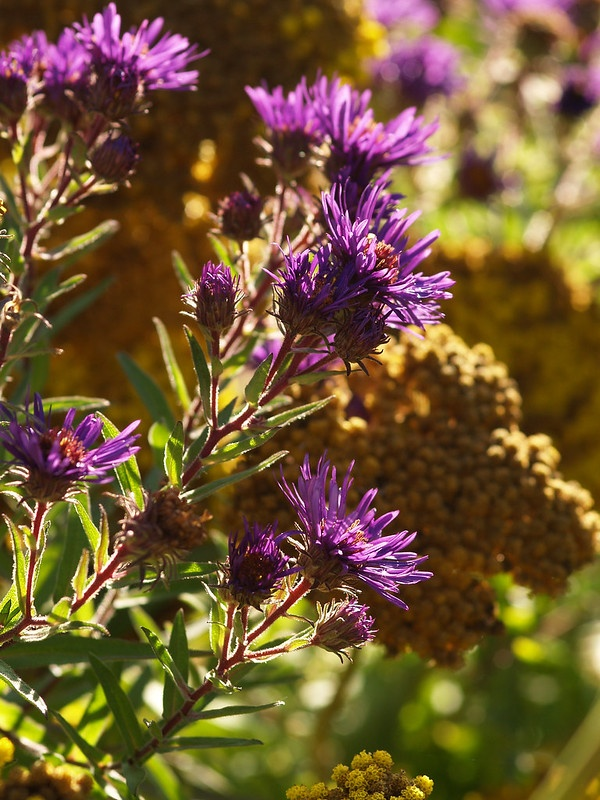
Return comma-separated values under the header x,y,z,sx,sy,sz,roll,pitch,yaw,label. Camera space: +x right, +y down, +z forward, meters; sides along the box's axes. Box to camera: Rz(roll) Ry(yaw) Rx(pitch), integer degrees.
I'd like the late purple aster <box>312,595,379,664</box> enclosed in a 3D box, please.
x,y,z,sx,sy,sz,roll,pitch,yaw,label
0.025,0.141,0.602,0.046,0.038,0.041,-14,22,9,late purple aster

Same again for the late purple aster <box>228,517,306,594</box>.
x,y,z,sx,sy,sz,roll,pitch,yaw,label
-0.023,0.094,0.599,0.042,0.039,0.056,2,33,-4,late purple aster
